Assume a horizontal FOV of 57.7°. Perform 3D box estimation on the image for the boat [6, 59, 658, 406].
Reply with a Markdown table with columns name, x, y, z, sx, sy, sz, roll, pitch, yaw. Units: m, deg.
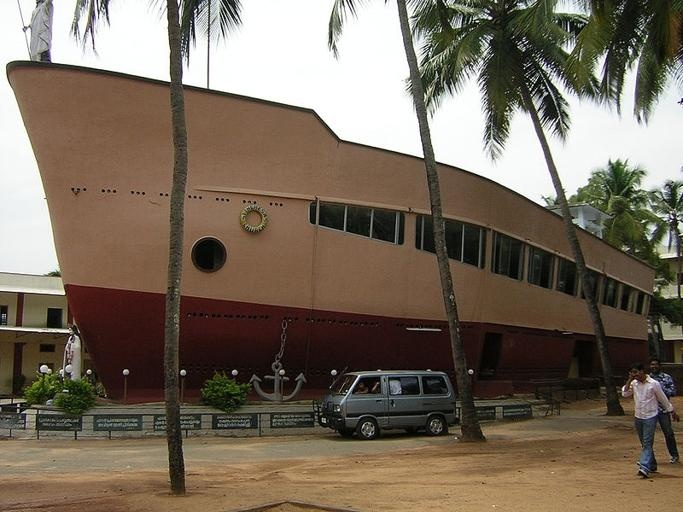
| name | x | y | z | sx | sy | sz | roll | pitch | yaw |
| --- | --- | --- | --- | --- | --- | --- | --- | --- | --- |
| boat | -0.419 | -0.046 | 23.603 | 22.353 | 10.906 | 4.759 | 2 | -12 | -20 |

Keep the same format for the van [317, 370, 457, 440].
| name | x | y | z | sx | sy | sz | roll | pitch | yaw |
| --- | --- | --- | --- | --- | --- | --- | --- | --- | --- |
| van | 1.299 | 4.528 | 19.332 | 3.416 | 1.868 | 2.085 | 4 | -12 | -21 |
